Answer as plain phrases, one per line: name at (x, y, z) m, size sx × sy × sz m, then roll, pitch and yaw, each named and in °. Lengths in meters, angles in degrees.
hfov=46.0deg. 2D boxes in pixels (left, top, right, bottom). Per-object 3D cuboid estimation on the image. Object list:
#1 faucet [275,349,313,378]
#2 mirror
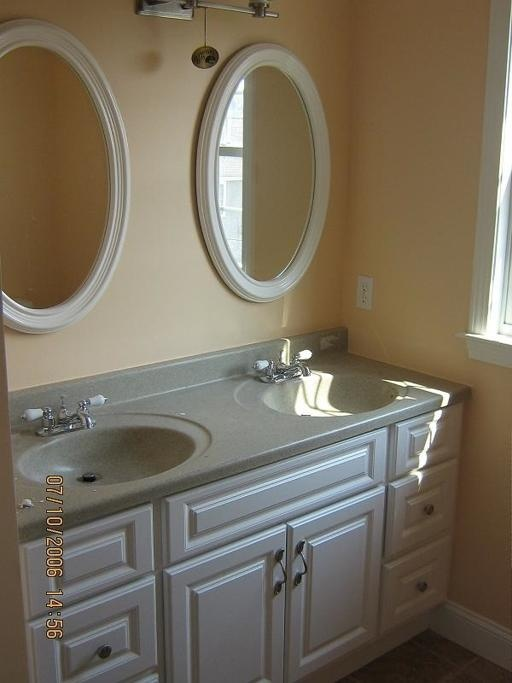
faucet at (0.154, 0.079, 2.091) m, size 0.056 × 0.081 × 0.189 m, roll 21°, pitch 29°, yaw 36°
mirror at (-0.275, -0.502, 1.755) m, size 0.046 × 0.651 × 1.006 m, roll 4°, pitch 8°, yaw 43°
